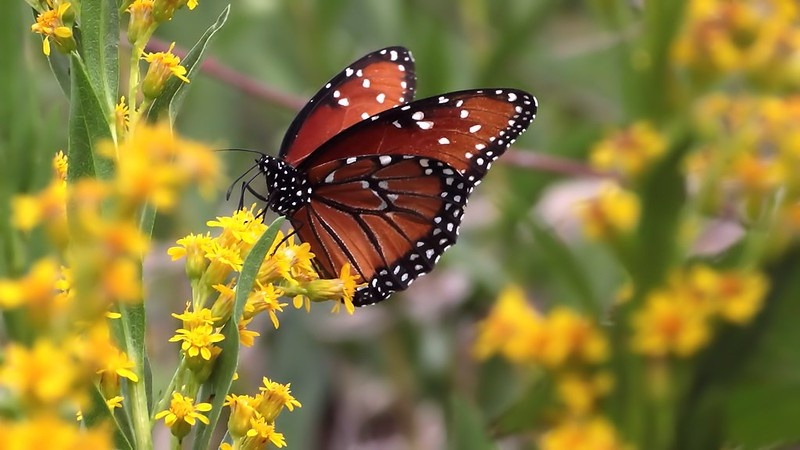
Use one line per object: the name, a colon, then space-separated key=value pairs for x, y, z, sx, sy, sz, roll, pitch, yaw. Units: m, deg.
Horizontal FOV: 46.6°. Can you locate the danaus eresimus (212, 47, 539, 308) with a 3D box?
danaus eresimus: x=-0.045 y=-0.067 z=1.333 sx=0.346 sy=0.331 sz=0.304 roll=16 pitch=10 yaw=3

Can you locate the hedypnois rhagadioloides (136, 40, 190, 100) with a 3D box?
hedypnois rhagadioloides: x=-0.257 y=-0.169 z=1.004 sx=0.047 sy=0.066 sz=0.045 roll=-4 pitch=-11 yaw=-28
